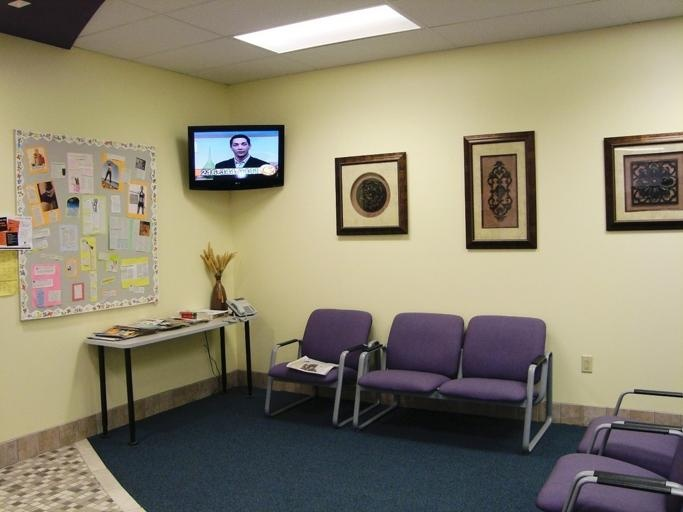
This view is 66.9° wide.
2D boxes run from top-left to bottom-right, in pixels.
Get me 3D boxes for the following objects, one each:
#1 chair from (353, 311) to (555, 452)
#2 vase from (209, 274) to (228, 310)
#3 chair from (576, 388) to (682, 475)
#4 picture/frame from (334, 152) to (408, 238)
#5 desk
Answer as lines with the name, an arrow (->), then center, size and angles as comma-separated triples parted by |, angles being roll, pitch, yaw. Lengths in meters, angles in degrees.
chair -> 0.987, 1.054, 4.598 | 1.676, 0.991, 0.848 | 1, 6, 23
vase -> -1.363, 0.379, 5.669 | 0.177, 0.374, 0.333 | -3, 6, -14
chair -> 1.818, 0.939, 3.235 | 0.462, 0.556, 0.579 | 3, 5, 29
picture/frame -> 0.328, -0.632, 5.195 | 0.834, 0.877, 0.087 | 1, 5, 28
desk -> -1.578, 1.149, 5.165 | 0.513, 0.934, 1.720 | 1, 3, 28
